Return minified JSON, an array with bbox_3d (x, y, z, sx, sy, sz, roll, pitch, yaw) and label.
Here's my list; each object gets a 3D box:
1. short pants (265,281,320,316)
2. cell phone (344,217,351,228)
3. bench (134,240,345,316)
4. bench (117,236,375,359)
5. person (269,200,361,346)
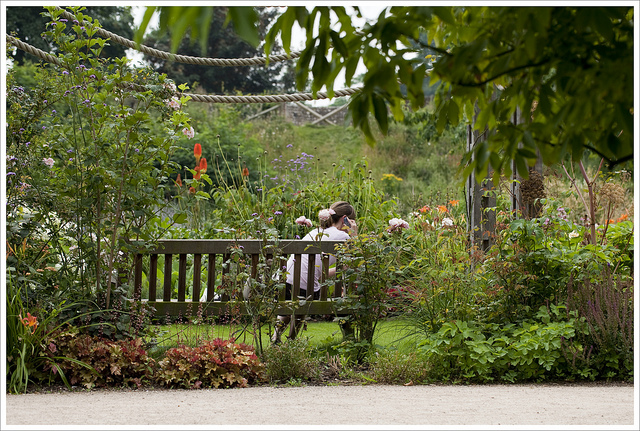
[{"bbox_3d":[-0.229,0.801,11.198,0.247,0.349,0.093,-1,32,-22],"label":"short pants"},{"bbox_3d":[0.275,0.076,11.272,0.021,0.074,0.051,-22,11,-24],"label":"cell phone"},{"bbox_3d":[-0.759,0.624,11.290,1.967,0.750,1.959,1,-4,0],"label":"bench"},{"bbox_3d":[-0.922,0.758,11.402,0.690,1.199,2.297,-19,11,-37],"label":"bench"},{"bbox_3d":[0.025,0.782,11.286,0.522,0.933,1.409,4,-2,-8],"label":"person"}]
